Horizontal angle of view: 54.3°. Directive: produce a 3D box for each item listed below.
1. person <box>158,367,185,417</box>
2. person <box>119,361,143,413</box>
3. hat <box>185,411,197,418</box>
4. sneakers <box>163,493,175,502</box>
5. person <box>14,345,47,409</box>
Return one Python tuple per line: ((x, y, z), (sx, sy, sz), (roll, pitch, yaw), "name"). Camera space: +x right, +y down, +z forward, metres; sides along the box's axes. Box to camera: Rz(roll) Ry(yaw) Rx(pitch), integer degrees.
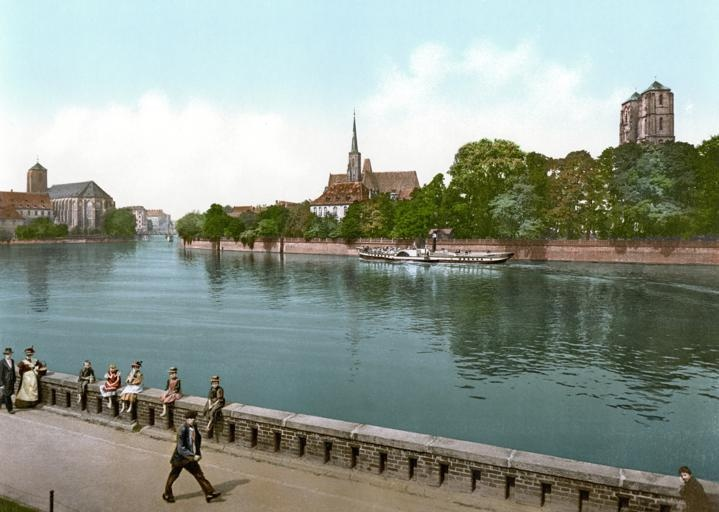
((-7.068, 5.148, 26.432), (0.700, 1.867, 1.031), (8, -6, -14), "person")
((-8.768, 5.080, 27.017), (0.796, 1.971, 1.154), (8, -6, -18), "person")
((-5.557, 5.213, 23.053), (0.285, 0.096, 0.293), (3, -2, -8), "hat")
((-6.072, 7.754, 22.429), (0.168, 0.229, 0.505), (4, -12, -43), "sneakers")
((-13.436, 4.963, 28.643), (1.065, 1.626, 0.898), (9, -7, -25), "person")
